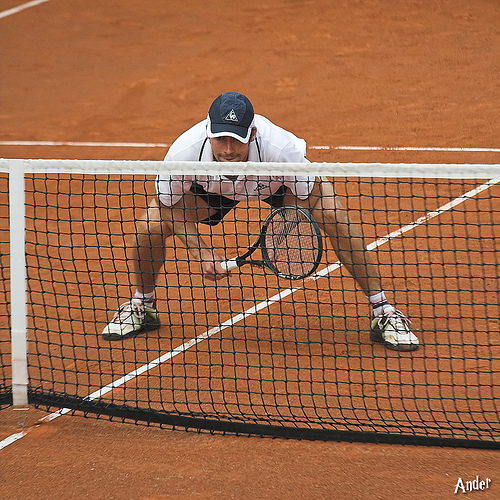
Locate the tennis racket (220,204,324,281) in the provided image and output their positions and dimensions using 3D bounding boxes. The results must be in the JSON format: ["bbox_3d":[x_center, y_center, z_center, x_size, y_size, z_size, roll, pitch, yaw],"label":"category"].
[{"bbox_3d":[0.166,-0.030,4.929,0.848,0.085,0.284,-19,93,28],"label":"tennis racket"}]
